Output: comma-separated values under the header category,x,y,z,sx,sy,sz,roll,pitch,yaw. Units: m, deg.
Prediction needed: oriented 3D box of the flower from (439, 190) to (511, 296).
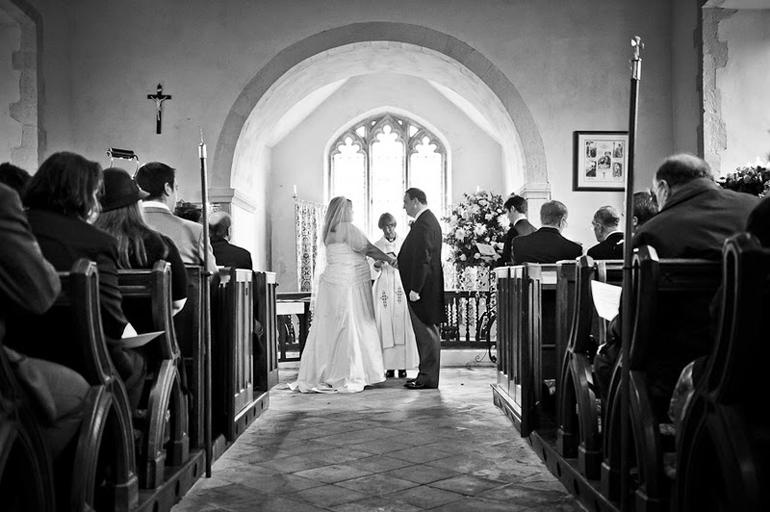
category,x,y,z,sx,sy,sz,roll,pitch,yaw
flower,1.212,-0.114,9.181,0.764,1.201,0.776,4,-8,-16

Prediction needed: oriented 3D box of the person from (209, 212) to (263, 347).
category,x,y,z,sx,sy,sz,roll,pitch,yaw
person,-1.406,0.521,6.440,0.464,1.312,0.369,8,24,14

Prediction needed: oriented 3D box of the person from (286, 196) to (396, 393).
category,x,y,z,sx,sy,sz,roll,pitch,yaw
person,-0.494,0.395,7.230,0.887,2.131,0.675,0,0,5

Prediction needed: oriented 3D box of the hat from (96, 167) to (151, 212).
category,x,y,z,sx,sy,sz,roll,pitch,yaw
hat,-1.506,-0.377,3.802,0.237,0.131,0.240,-20,14,6

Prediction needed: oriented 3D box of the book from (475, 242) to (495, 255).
category,x,y,z,sx,sy,sz,roll,pitch,yaw
book,1.228,-0.094,7.975,0.142,0.153,0.197,1,1,-44

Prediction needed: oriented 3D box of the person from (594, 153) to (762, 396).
category,x,y,z,sx,sy,sz,roll,pitch,yaw
person,1.769,0.034,3.660,0.704,1.099,0.650,-10,3,3

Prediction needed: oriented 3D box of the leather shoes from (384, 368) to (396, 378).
category,x,y,z,sx,sy,sz,roll,pitch,yaw
leather shoes,0.065,1.446,8.111,0.135,0.140,0.104,0,-6,0

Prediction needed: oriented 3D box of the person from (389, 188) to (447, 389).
category,x,y,z,sx,sy,sz,roll,pitch,yaw
person,0.400,0.331,7.234,0.461,2.216,0.458,0,0,38
